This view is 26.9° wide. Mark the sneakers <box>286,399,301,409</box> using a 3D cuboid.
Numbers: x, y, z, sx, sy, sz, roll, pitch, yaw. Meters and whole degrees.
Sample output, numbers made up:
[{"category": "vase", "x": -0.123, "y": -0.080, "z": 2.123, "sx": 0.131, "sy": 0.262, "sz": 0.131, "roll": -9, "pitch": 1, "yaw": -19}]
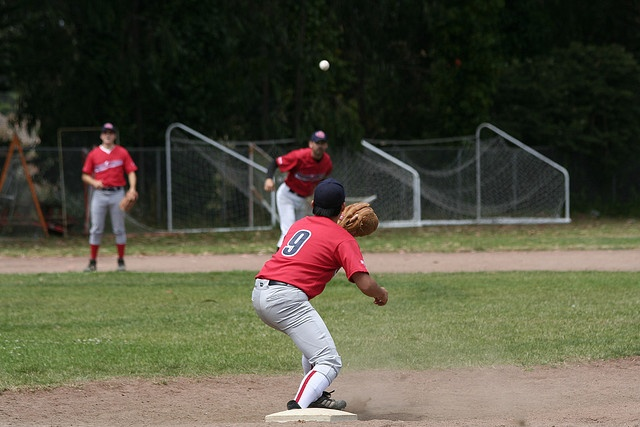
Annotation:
[{"category": "sneakers", "x": -0.579, "y": 4.150, "z": 29.050, "sx": 0.273, "sy": 0.178, "sz": 0.161, "roll": -3, "pitch": -1, "yaw": -5}]

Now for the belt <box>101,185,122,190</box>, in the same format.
[{"category": "belt", "x": -5.366, "y": -0.658, "z": 34.136, "sx": 0.481, "sy": 0.114, "sz": 0.087, "roll": 0, "pitch": 0, "yaw": -28}]

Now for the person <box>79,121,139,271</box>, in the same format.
[{"category": "person", "x": -5.455, "y": -0.441, "z": 34.275, "sx": 1.312, "sy": 3.809, "sz": 0.909, "roll": 0, "pitch": 0, "yaw": -10}]

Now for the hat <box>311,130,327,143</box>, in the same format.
[{"category": "hat", "x": -0.042, "y": -1.988, "z": 34.365, "sx": 0.378, "sy": 0.301, "sz": 0.388, "roll": 0, "pitch": 0, "yaw": 1}]
